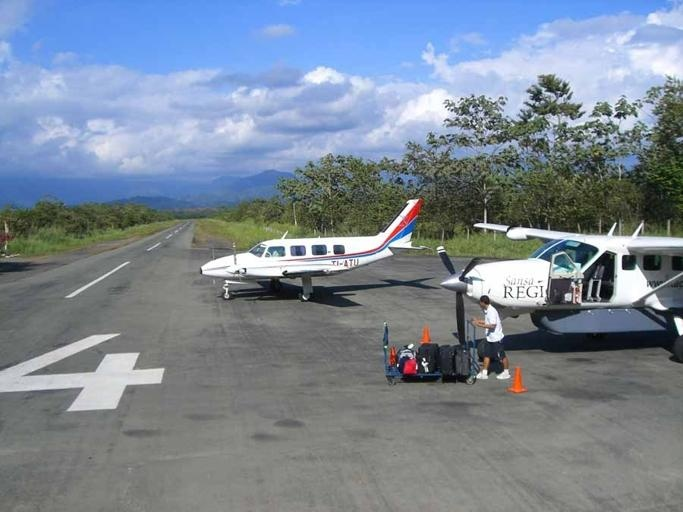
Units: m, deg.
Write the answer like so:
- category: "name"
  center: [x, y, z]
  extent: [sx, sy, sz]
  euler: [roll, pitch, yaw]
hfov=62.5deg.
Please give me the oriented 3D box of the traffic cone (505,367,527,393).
- category: "traffic cone"
  center: [4.479, 3.122, 14.328]
  extent: [0.567, 0.660, 0.592]
  euler: [1, -4, -22]

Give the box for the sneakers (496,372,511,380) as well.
- category: "sneakers"
  center: [4.278, 3.161, 14.893]
  extent: [0.343, 0.144, 0.164]
  euler: [3, -4, -17]

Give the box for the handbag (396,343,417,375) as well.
- category: "handbag"
  center: [1.714, 2.749, 14.709]
  extent: [0.513, 0.777, 0.519]
  euler: [1, 10, 4]

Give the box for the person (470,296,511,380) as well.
- category: "person"
  center: [3.937, 2.182, 15.080]
  extent: [0.824, 2.131, 1.016]
  euler: [2, -4, -44]

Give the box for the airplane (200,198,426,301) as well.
- category: "airplane"
  center: [-1.181, -0.006, 26.022]
  extent: [12.341, 4.552, 4.203]
  euler: [-1, 1, -23]
